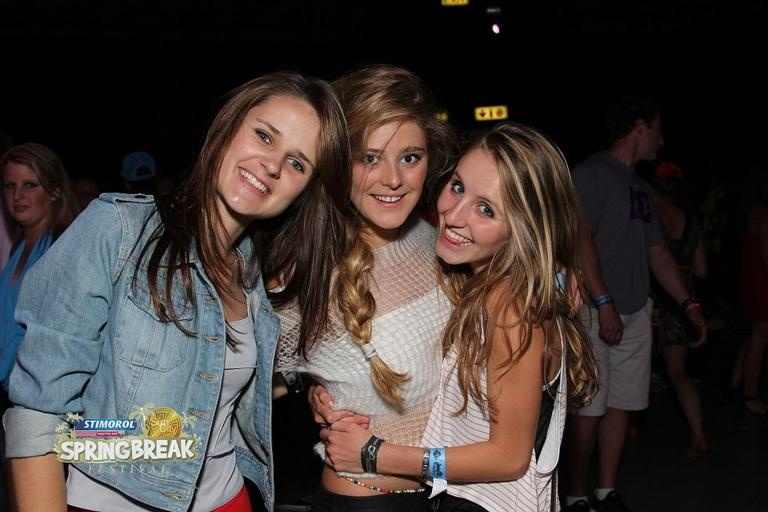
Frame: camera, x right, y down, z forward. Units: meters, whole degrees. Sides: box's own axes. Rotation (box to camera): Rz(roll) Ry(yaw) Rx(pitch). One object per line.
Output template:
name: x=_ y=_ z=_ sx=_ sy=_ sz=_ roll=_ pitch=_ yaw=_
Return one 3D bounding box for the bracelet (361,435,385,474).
bracelet: x=-0.066 y=1.059 z=3.308 sx=0.106 sy=0.210 sz=0.077 roll=6 pitch=15 yaw=22

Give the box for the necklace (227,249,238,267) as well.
necklace: x=-0.767 y=0.025 z=3.203 sx=0.047 sy=0.023 sz=0.063 roll=22 pitch=12 yaw=-26

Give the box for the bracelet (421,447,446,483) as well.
bracelet: x=0.254 y=1.064 z=3.217 sx=0.116 sy=0.159 sz=0.154 roll=-4 pitch=-3 yaw=-9

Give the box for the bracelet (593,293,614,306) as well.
bracelet: x=1.720 y=0.360 z=5.005 sx=0.104 sy=0.076 sz=0.107 roll=-9 pitch=-2 yaw=-1
